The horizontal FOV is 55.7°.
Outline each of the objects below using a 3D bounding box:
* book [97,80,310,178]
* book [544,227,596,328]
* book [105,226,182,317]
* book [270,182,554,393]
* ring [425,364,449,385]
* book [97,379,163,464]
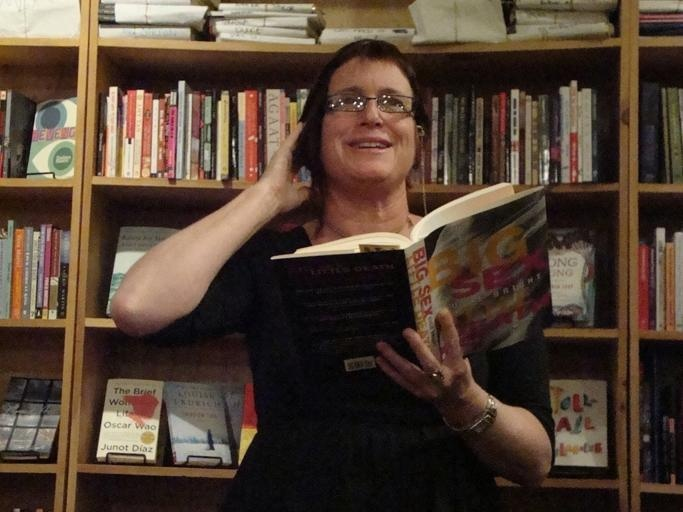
[{"bbox_3d":[-0.488,-0.366,2.221,0.761,0.298,0.320,1,1,0],"label":"book"},{"bbox_3d":[0.724,0.070,2.028,0.250,0.300,0.077,1,-5,6],"label":"book"},{"bbox_3d":[-0.675,0.058,2.190,0.298,0.273,0.068,2,-10,-5],"label":"book"},{"bbox_3d":[0.152,0.038,1.369,0.771,0.371,0.198,-13,22,-7],"label":"book"},{"bbox_3d":[0.205,0.250,1.377,0.035,0.041,0.013,-2,16,2],"label":"ring"},{"bbox_3d":[-0.657,0.501,1.947,0.201,0.247,0.059,-1,-17,0],"label":"book"}]
